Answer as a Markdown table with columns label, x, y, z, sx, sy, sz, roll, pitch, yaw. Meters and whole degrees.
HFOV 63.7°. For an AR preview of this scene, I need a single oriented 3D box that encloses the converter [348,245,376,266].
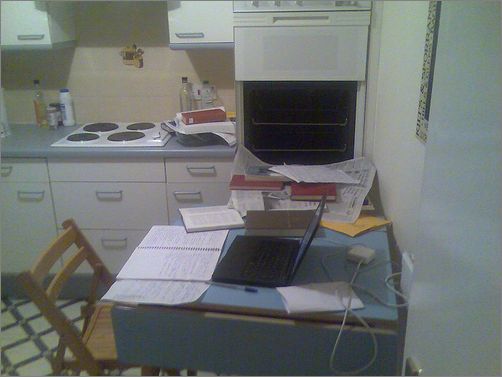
| label | x | y | z | sx | sy | sz | roll | pitch | yaw |
| --- | --- | --- | --- | --- | --- | --- | --- | --- | --- |
| converter | 0.354 | 0.211 | 1.294 | 0.060 | 0.020 | 0.060 | 10 | 25 | 34 |

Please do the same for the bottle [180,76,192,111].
| label | x | y | z | sx | sy | sz | roll | pitch | yaw |
| --- | --- | --- | --- | --- | --- | --- | --- | --- | --- |
| bottle | -0.406 | -0.588 | 2.517 | 0.093 | 0.209 | 0.089 | -1 | 25 | 0 |

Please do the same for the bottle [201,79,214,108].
| label | x | y | z | sx | sy | sz | roll | pitch | yaw |
| --- | --- | --- | --- | --- | --- | --- | --- | --- | --- |
| bottle | -0.266 | -0.570 | 2.462 | 0.073 | 0.153 | 0.091 | -12 | 27 | -22 |

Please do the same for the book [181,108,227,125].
| label | x | y | z | sx | sy | sz | roll | pitch | yaw |
| --- | --- | --- | --- | --- | --- | --- | --- | --- | --- |
| book | -0.265 | -0.410 | 2.282 | 0.259 | 0.065 | 0.110 | -4 | 24 | -9 |

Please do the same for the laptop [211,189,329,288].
| label | x | y | z | sx | sy | sz | roll | pitch | yaw |
| --- | --- | --- | --- | --- | --- | --- | --- | --- | --- |
| laptop | 0.064 | 0.189 | 1.246 | 0.309 | 0.182 | 0.307 | 6 | 27 | 12 |

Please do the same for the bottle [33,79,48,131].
| label | x | y | z | sx | sy | sz | roll | pitch | yaw |
| --- | --- | --- | --- | --- | --- | --- | --- | --- | --- |
| bottle | -1.375 | -0.550 | 2.612 | 0.082 | 0.287 | 0.171 | -11 | 26 | -20 |

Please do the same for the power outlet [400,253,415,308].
| label | x | y | z | sx | sy | sz | roll | pitch | yaw |
| --- | --- | --- | --- | --- | --- | --- | --- | --- | --- |
| power outlet | 0.439 | 0.236 | 1.140 | 0.028 | 0.102 | 0.210 | 8 | 25 | 19 |

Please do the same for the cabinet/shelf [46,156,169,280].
| label | x | y | z | sx | sy | sz | roll | pitch | yaw |
| --- | --- | --- | --- | --- | --- | --- | --- | --- | --- |
| cabinet/shelf | -0.713 | 0.138 | 2.545 | 0.807 | 0.738 | 0.443 | 0 | 20 | 0 |
